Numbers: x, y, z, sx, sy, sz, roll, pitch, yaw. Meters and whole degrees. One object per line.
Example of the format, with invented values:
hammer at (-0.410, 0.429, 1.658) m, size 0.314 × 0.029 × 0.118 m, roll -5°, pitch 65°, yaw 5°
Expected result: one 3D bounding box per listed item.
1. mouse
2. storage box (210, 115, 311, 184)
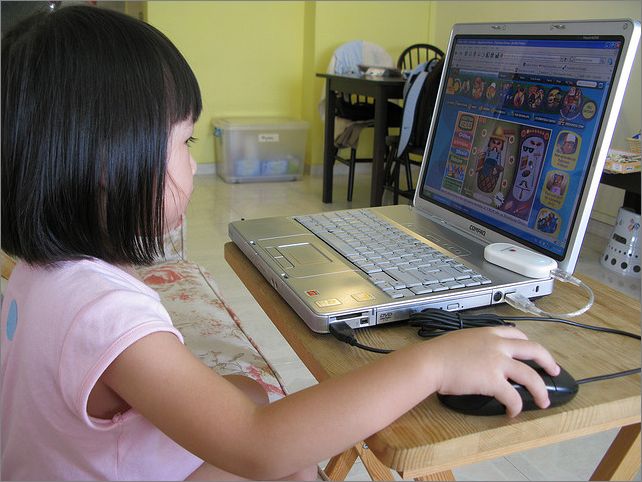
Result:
mouse at (0.214, 0.174, 0.510) m, size 0.128 × 0.034 × 0.066 m, roll -7°, pitch 23°, yaw -4°
storage box at (-0.562, -0.911, 4.254) m, size 0.801 × 0.484 × 0.621 m, roll -5°, pitch 19°, yaw -21°
